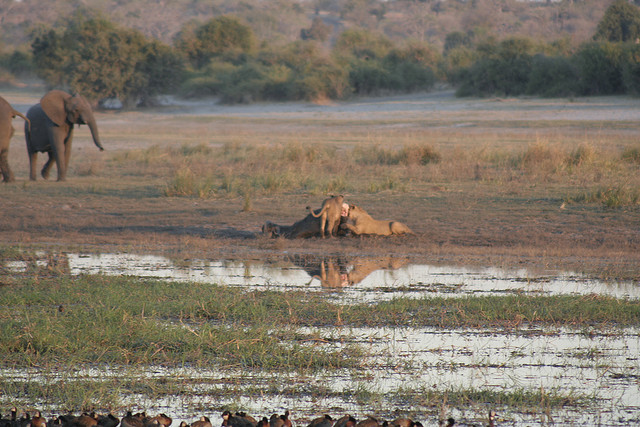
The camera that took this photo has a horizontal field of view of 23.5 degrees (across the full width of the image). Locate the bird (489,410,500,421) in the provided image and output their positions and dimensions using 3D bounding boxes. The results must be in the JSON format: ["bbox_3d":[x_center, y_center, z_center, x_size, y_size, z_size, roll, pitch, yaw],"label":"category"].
[{"bbox_3d":[13.031,15.489,115.626,0.510,0.721,0.663,5,-21,2],"label":"bird"}]
